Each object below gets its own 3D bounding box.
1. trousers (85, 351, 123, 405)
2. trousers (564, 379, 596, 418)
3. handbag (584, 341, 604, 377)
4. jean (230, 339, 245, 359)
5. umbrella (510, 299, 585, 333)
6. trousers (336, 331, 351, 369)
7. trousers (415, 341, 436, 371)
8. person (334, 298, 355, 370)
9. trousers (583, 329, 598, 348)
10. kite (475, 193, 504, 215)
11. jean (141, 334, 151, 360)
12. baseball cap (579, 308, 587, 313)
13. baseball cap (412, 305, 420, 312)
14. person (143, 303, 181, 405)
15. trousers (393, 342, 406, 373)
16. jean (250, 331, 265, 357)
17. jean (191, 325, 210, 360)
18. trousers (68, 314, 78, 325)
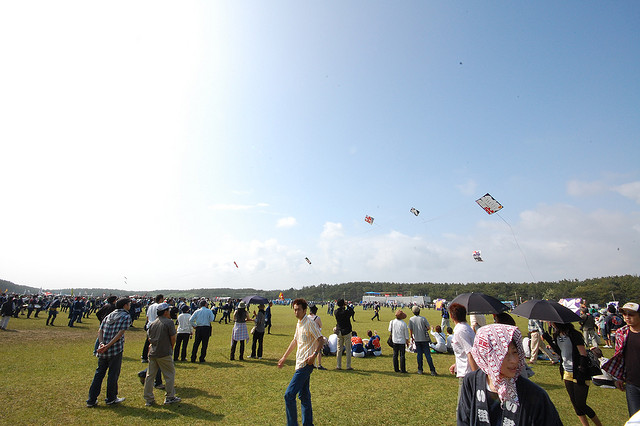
[{"bbox_3d":[-7.618,5.664,13.419,0.902,2.189,0.582,5,3,-16],"label":"trousers"},{"bbox_3d":[8.184,5.823,11.864,0.623,1.141,0.500,-11,-20,25],"label":"trousers"},{"bbox_3d":[8.603,4.577,11.884,0.317,1.045,0.714,-13,-21,31],"label":"handbag"},{"bbox_3d":[-4.169,6.795,19.002,0.681,0.897,0.977,2,-19,-13],"label":"jean"},{"bbox_3d":[7.845,3.427,13.137,1.376,0.839,1.362,3,-10,0],"label":"umbrella"},{"bbox_3d":[1.099,6.143,17.583,0.674,2.455,0.557,1,10,19],"label":"trousers"},{"bbox_3d":[4.590,6.166,16.696,0.778,1.914,0.486,-9,8,15],"label":"trousers"},{"bbox_3d":[1.139,5.722,17.846,0.931,3.018,1.061,12,-19,-39],"label":"person"},{"bbox_3d":[15.263,6.986,21.238,0.509,0.896,0.916,-15,-22,34],"label":"trousers"},{"bbox_3d":[10.445,-0.561,23.194,1.054,1.220,1.769,-10,-20,21],"label":"kite"},{"bbox_3d":[-8.092,6.342,17.490,0.206,0.851,1.486,6,-20,-23],"label":"jean"},{"bbox_3d":[17.037,6.300,24.428,0.582,0.159,0.438,11,-6,28],"label":"baseball cap"},{"bbox_3d":[4.186,4.144,16.421,0.267,0.258,0.343,-10,-20,21],"label":"baseball cap"},{"bbox_3d":[-5.671,5.033,13.611,1.199,3.419,1.078,-16,-23,37],"label":"person"},{"bbox_3d":[3.639,6.581,17.189,0.545,1.274,0.978,-4,-18,7],"label":"trousers"},{"bbox_3d":[-3.266,6.733,19.446,0.585,1.227,0.700,2,-19,-12],"label":"jean"},{"bbox_3d":[-5.806,6.273,18.319,0.759,1.564,1.004,5,-19,-19],"label":"jean"},{"bbox_3d":[-18.050,7.732,27.529,0.342,0.728,1.002,13,-24,-38],"label":"trousers"}]
